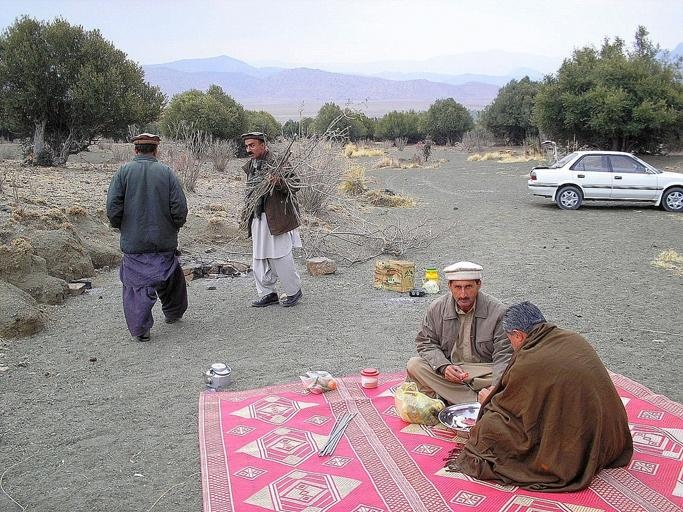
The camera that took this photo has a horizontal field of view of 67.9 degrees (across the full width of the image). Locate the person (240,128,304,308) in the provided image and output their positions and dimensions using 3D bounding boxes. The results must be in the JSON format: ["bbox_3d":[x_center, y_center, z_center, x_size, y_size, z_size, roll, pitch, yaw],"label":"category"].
[{"bbox_3d":[-0.993,-0.522,7.263,0.764,2.444,0.644,-2,14,-2],"label":"person"}]

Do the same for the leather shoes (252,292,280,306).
[{"bbox_3d":[-1.114,0.626,7.382,0.386,0.197,0.163,1,9,-16],"label":"leather shoes"}]

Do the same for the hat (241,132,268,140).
[{"bbox_3d":[-1.249,-1.695,7.153,0.298,0.098,0.259,-6,13,-17],"label":"hat"}]

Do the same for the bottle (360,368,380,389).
[{"bbox_3d":[0.276,1.194,4.986,0.172,0.158,0.172,0,8,-2],"label":"bottle"}]

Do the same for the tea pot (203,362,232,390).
[{"bbox_3d":[-1.236,1.185,5.037,0.235,0.172,0.238,2,7,0],"label":"tea pot"}]

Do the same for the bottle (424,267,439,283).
[{"bbox_3d":[1.447,0.296,8.147,0.216,0.208,0.216,0,6,1],"label":"bottle"}]

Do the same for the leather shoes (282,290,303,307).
[{"bbox_3d":[-0.715,0.608,7.376,0.353,0.158,0.157,-11,13,-36],"label":"leather shoes"}]

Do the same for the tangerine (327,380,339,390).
[{"bbox_3d":[-0.095,1.263,4.960,0.082,0.043,0.081,1,8,-2],"label":"tangerine"}]

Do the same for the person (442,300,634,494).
[{"bbox_3d":[1.475,1.007,3.946,1.390,1.201,1.172,-11,15,-39],"label":"person"}]

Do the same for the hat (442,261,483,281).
[{"bbox_3d":[1.110,0.126,4.637,0.305,0.158,0.369,2,13,17],"label":"hat"}]

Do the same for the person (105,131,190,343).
[{"bbox_3d":[-2.399,-0.122,6.271,0.679,2.140,0.913,10,18,41],"label":"person"}]

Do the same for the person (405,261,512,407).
[{"bbox_3d":[1.115,0.569,4.964,1.078,1.416,1.210,3,19,18],"label":"person"}]
